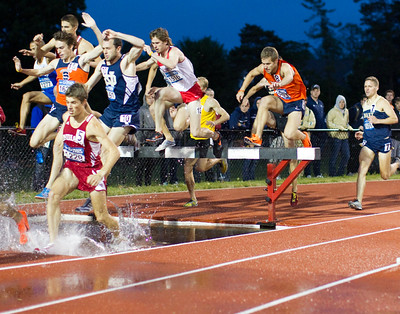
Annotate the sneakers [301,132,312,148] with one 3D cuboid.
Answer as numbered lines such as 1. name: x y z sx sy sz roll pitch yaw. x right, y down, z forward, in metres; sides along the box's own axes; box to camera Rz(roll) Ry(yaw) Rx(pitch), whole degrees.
1. sneakers: 2.144 -0.351 10.315 0.143 0.435 0.134 6 -15 -19

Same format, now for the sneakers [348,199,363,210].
1. sneakers: 2.944 0.896 9.714 0.371 0.244 0.141 19 -21 -34

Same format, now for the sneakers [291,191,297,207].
1. sneakers: 1.888 0.835 10.314 0.109 0.390 0.140 4 2 19

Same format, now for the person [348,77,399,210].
1. person: 3.452 -0.286 10.064 0.807 2.633 1.588 1 3 22
